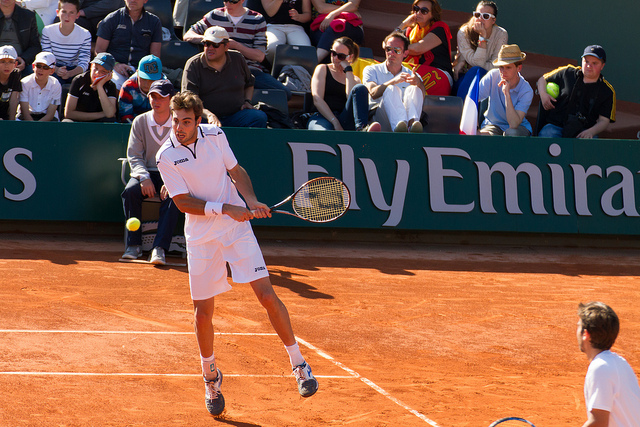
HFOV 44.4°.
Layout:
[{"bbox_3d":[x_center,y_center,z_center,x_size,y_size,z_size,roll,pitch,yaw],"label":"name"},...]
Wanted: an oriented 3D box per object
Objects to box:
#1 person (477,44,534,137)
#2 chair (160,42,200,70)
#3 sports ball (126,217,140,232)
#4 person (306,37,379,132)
[{"bbox_3d":[3.210,-2.098,13.602,0.945,1.602,0.838,-1,0,15],"label":"person"},{"bbox_3d":[-2.567,-2.961,14.455,0.618,0.612,0.599,1,22,1],"label":"chair"},{"bbox_3d":[-2.660,0.141,11.188,0.188,0.172,0.170,-3,42,13],"label":"sports ball"},{"bbox_3d":[0.336,-2.176,13.243,1.025,1.659,0.734,-1,0,5],"label":"person"}]
